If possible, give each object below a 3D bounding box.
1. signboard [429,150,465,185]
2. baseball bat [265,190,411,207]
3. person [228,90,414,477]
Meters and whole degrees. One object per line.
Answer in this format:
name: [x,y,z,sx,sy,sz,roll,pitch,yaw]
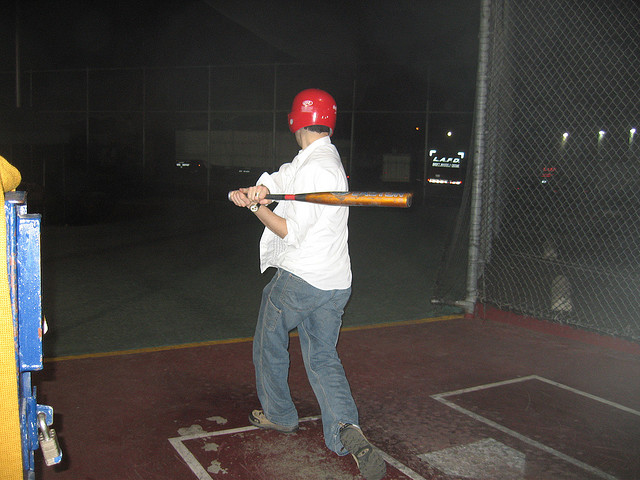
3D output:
signboard: [4.745,-2.720,18.977,1.464,1.568,0.747,1,10,7]
baseball bat: [0.089,-0.241,3.015,0.893,0.107,0.101,3,0,6]
person: [-0.056,0.227,3.251,0.901,2.315,1.056,0,11,-10]
